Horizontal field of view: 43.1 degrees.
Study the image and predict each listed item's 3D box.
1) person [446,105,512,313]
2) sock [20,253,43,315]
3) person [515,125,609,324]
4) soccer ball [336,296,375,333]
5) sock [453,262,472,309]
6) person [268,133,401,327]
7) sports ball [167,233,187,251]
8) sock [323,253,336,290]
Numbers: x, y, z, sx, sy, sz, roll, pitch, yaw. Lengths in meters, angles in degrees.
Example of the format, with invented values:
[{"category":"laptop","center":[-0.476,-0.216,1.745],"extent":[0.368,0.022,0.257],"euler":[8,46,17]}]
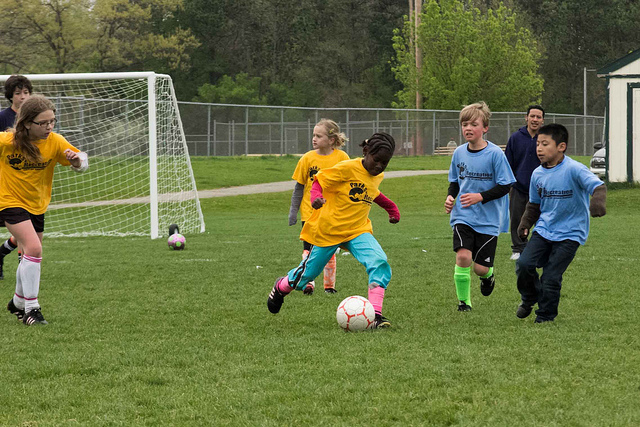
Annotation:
[{"category":"person","center":[1.906,-0.103,9.668],"extent":[0.746,2.394,1.133],"euler":[1,13,11]},{"category":"sock","center":[-3.279,0.775,9.173],"extent":[0.243,0.689,0.200],"euler":[-6,14,-21]},{"category":"person","center":[2.665,0.133,9.016],"extent":[0.965,2.215,0.761],"euler":[5,14,25]},{"category":"soccer ball","center":[0.406,1.116,8.921],"extent":[0.407,0.387,0.386],"euler":[3,-30,2]},{"category":"sock","center":[1.702,0.837,9.569],"extent":[0.202,0.537,0.272],"euler":[0,13,8]},{"category":"person","center":[0.196,0.086,9.133],"extent":[1.208,1.955,0.553],"euler":[1,13,10]},{"category":"sports ball","center":[-2.295,0.438,12.911],"extent":[0.278,0.244,0.351],"euler":[-4,13,-12]},{"category":"sock","center":[0.119,0.735,10.287],"extent":[0.138,0.472,0.353],"euler":[-2,13,-2]}]
